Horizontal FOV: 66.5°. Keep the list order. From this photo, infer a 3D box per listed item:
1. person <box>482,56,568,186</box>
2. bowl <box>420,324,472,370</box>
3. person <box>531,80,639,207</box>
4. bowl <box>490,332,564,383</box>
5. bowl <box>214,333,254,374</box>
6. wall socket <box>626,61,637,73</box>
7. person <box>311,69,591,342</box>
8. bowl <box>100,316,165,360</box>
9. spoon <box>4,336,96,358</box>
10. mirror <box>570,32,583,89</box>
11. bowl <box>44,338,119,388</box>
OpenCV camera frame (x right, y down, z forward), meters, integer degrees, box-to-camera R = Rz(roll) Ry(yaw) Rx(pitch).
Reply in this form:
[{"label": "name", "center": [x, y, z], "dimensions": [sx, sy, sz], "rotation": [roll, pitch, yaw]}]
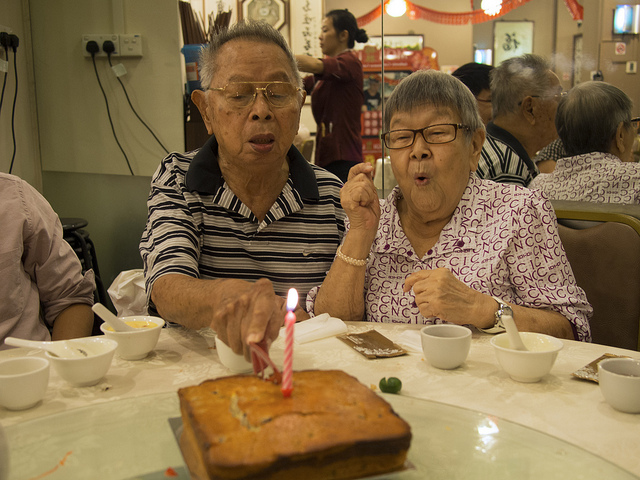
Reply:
[{"label": "person", "center": [1.457, -0.836, 3.420], "dimensions": [0.566, 0.629, 0.801], "rotation": [-17, 31, -1]}, {"label": "bowl", "center": [0.402, 0.340, 1.495], "dimensions": [0.173, 0.131, 0.188], "rotation": [-1, -14, 0]}, {"label": "person", "center": [1.650, -0.607, 3.034], "dimensions": [0.742, 0.719, 0.446], "rotation": [15, 36, 41]}, {"label": "bowl", "center": [0.600, 0.330, 1.423], "dimensions": [0.191, 0.098, 0.217], "rotation": [6, 13, 26]}, {"label": "bowl", "center": [-0.255, 0.350, 1.474], "dimensions": [0.103, 0.090, 0.111], "rotation": [2, 6, 0]}, {"label": "wall socket", "center": [2.439, -1.357, 3.806], "dimensions": [0.078, 0.125, 0.012], "rotation": [2, -8, 4]}, {"label": "person", "center": [0.535, -0.161, 2.030], "dimensions": [1.096, 1.062, 0.464], "rotation": [4, 12, 20]}, {"label": "bowl", "center": [-0.604, 0.308, 1.576], "dimensions": [0.188, 0.107, 0.230], "rotation": [-6, 13, -26]}, {"label": "spoon", "center": [-0.829, 0.329, 1.486], "dimensions": [0.183, 0.043, 0.122], "rotation": [11, 2, -31]}, {"label": "mirror", "center": [2.016, -1.386, 3.814], "dimensions": [0.085, 0.448, 0.043], "rotation": [-1, 3, -12]}, {"label": "bowl", "center": [-0.652, 0.326, 1.388], "dimensions": [0.133, 0.091, 0.144], "rotation": [-1, -5, 0]}]
